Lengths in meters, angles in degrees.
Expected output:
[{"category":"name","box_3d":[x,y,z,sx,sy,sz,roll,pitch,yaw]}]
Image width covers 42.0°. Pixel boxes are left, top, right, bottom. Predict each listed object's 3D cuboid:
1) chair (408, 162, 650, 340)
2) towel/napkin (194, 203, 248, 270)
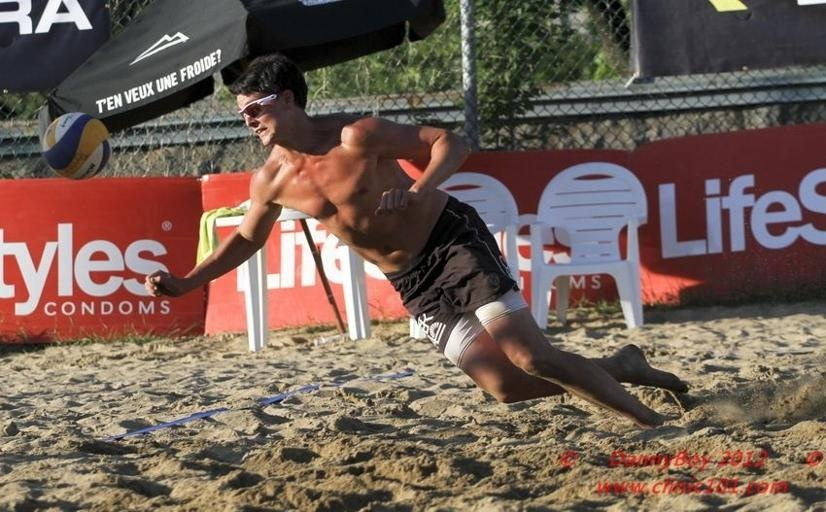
[{"category":"chair","box_3d":[1.484,-0.283,10.405,1.790,2.382,1.332,-2,3,20]},{"category":"towel/napkin","box_3d":[-2.183,-0.184,10.752,0.431,0.648,1.041,1,-1,-4]}]
